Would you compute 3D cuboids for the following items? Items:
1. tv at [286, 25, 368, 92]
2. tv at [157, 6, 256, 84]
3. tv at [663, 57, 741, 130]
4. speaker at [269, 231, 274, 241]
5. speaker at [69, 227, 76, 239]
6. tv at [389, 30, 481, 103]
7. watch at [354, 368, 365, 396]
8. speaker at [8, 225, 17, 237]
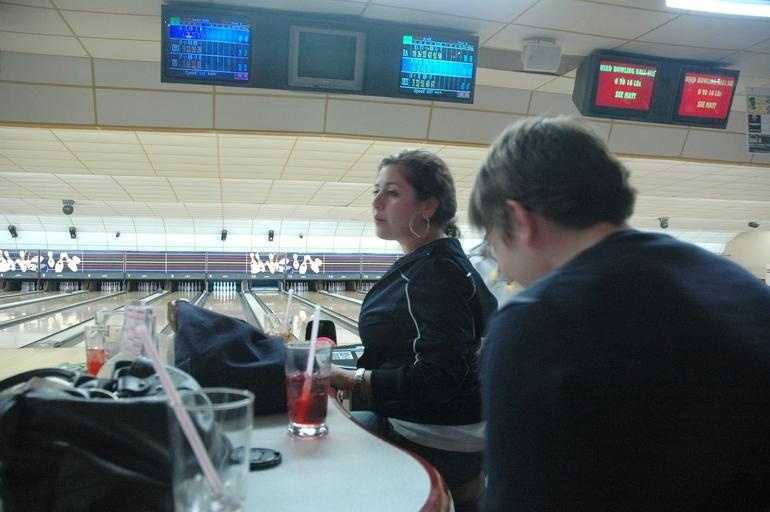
[{"bbox_3d":[-0.459,-1.195,3.272,0.306,0.363,0.595,24,28,35],"label":"tv"},{"bbox_3d":[-0.981,-1.164,3.015,0.572,0.385,0.179,1,2,-16],"label":"tv"},{"bbox_3d":[2.204,-1.072,3.705,0.177,0.402,0.442,-15,27,-19],"label":"tv"},{"bbox_3d":[-2.702,-0.487,13.004,0.142,0.299,0.288,3,8,-12],"label":"speaker"},{"bbox_3d":[-6.872,-0.520,12.110,0.144,0.275,0.210,1,9,-23],"label":"speaker"},{"bbox_3d":[0.276,-1.138,3.269,0.539,0.359,0.065,6,0,-2],"label":"tv"},{"bbox_3d":[-0.084,0.431,1.887,0.044,0.062,0.069,1,19,12],"label":"watch"},{"bbox_3d":[-7.945,-0.535,11.737,0.150,0.304,0.282,0,10,-30],"label":"speaker"}]
